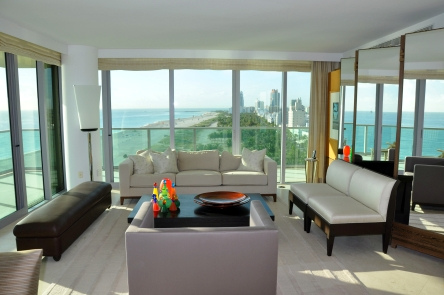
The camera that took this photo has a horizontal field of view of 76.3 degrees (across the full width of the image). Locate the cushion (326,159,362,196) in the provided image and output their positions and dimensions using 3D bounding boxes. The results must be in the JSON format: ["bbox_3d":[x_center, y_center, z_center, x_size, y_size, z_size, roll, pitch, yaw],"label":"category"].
[{"bbox_3d":[2.002,0.498,4.995,0.634,0.424,0.224,23,11,-23],"label":"cushion"}]

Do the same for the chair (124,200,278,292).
[{"bbox_3d":[-0.241,1.090,2.759,1.129,0.773,0.769,-1,9,0],"label":"chair"}]

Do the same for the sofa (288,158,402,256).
[{"bbox_3d":[1.897,0.850,4.761,1.153,0.933,1.939,-4,7,1],"label":"sofa"}]

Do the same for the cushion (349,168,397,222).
[{"bbox_3d":[2.128,0.606,4.492,0.190,0.655,1.118,-10,20,-23],"label":"cushion"}]

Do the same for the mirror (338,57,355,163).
[{"bbox_3d":[2.593,-0.804,5.865,0.228,2.120,0.928,0,9,14],"label":"mirror"}]

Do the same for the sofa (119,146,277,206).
[{"bbox_3d":[-0.483,0.587,6.251,3.238,0.989,0.973,-1,4,-6],"label":"sofa"}]

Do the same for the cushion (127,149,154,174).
[{"bbox_3d":[-1.620,0.310,5.855,0.448,0.412,0.130,-14,-7,-36],"label":"cushion"}]

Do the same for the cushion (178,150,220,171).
[{"bbox_3d":[-0.517,0.296,6.369,0.989,0.509,0.280,0,6,-4],"label":"cushion"}]

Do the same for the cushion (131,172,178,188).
[{"bbox_3d":[-1.404,0.686,5.744,0.879,0.274,0.272,-3,8,-10],"label":"cushion"}]

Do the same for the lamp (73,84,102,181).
[{"bbox_3d":[-2.647,-0.266,5.671,0.448,1.964,0.381,2,10,25],"label":"lamp"}]
